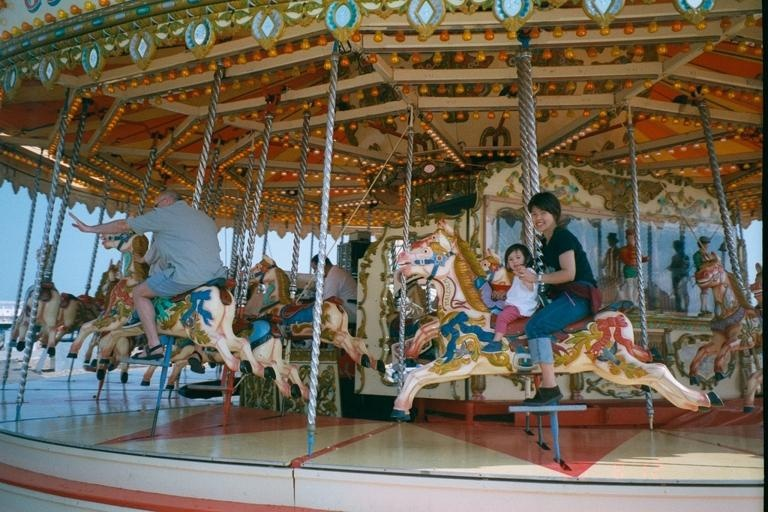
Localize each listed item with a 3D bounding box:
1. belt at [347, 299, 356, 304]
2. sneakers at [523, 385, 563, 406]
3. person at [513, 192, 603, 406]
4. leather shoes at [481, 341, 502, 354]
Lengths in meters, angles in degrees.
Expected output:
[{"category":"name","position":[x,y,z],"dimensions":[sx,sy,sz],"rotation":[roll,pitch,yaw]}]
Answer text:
[{"category":"belt","position":[-0.569,0.792,12.744],"dimensions":[0.122,0.077,0.028],"rotation":[0,-7,-26]},{"category":"sneakers","position":[1.812,1.588,8.204],"dimensions":[0.440,0.185,0.194],"rotation":[-6,-8,10]},{"category":"person","position":[2.101,0.486,8.738],"dimensions":[1.075,2.558,0.783],"rotation":[4,-9,-8]},{"category":"leather shoes","position":[1.318,1.123,8.786],"dimensions":[0.216,0.086,0.118],"rotation":[0,0,18]}]
